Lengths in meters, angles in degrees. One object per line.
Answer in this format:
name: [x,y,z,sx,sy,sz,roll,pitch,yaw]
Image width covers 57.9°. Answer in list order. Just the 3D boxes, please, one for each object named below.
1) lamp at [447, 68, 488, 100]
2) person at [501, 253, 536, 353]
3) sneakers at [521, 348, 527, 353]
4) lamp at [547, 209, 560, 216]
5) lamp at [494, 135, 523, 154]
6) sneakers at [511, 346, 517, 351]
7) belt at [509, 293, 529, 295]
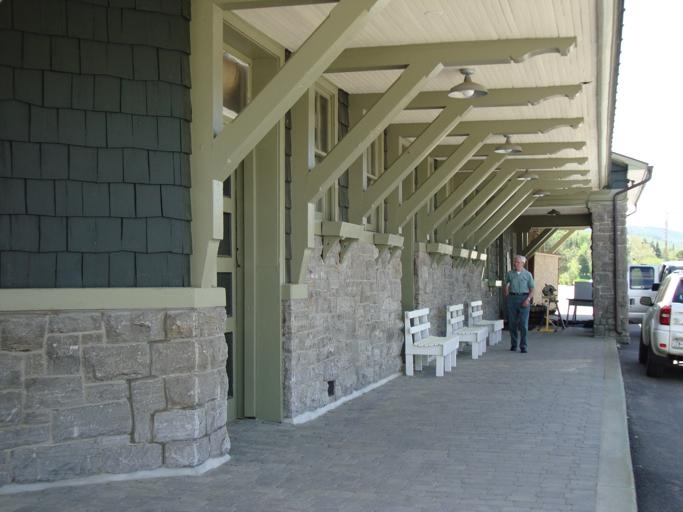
lamp: [1.486,-2.070,7.412,0.425,0.377,0.558,0,-4,2]
person: [3.446,0.927,11.910,0.436,1.837,0.727,1,-4,-13]
sneakers: [3.442,1.784,11.590,0.064,0.080,0.190,-4,-5,44]
lamp: [6.609,-1.352,19.268,0.206,0.135,0.219,0,-3,-18]
lamp: [2.634,-1.785,9.866,0.331,0.268,0.354,2,-4,-17]
sneakers: [3.307,1.793,11.843,0.058,0.083,0.178,-1,-11,14]
belt: [3.405,0.738,11.851,0.322,0.068,0.048,-2,-4,19]
